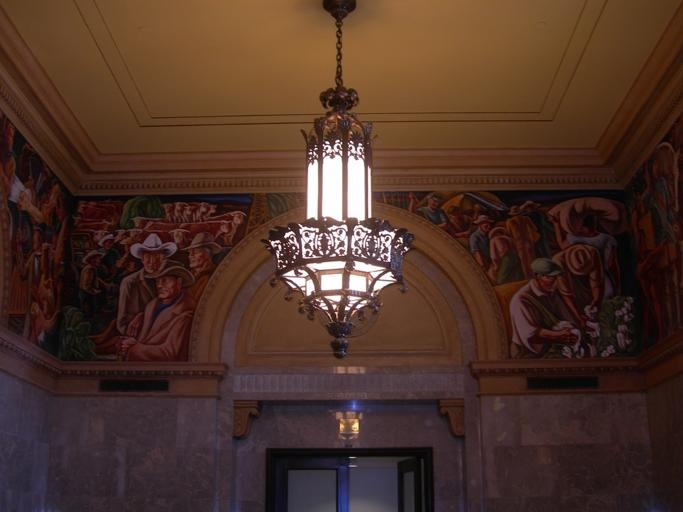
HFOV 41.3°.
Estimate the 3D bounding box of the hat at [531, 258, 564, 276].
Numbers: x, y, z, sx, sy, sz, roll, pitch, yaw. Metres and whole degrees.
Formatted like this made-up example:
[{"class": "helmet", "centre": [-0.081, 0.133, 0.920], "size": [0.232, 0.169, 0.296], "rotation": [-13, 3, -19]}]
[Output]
[{"class": "hat", "centre": [2.641, 0.145, 11.808], "size": [0.279, 0.119, 0.222], "rotation": [0, 6, -12]}]
